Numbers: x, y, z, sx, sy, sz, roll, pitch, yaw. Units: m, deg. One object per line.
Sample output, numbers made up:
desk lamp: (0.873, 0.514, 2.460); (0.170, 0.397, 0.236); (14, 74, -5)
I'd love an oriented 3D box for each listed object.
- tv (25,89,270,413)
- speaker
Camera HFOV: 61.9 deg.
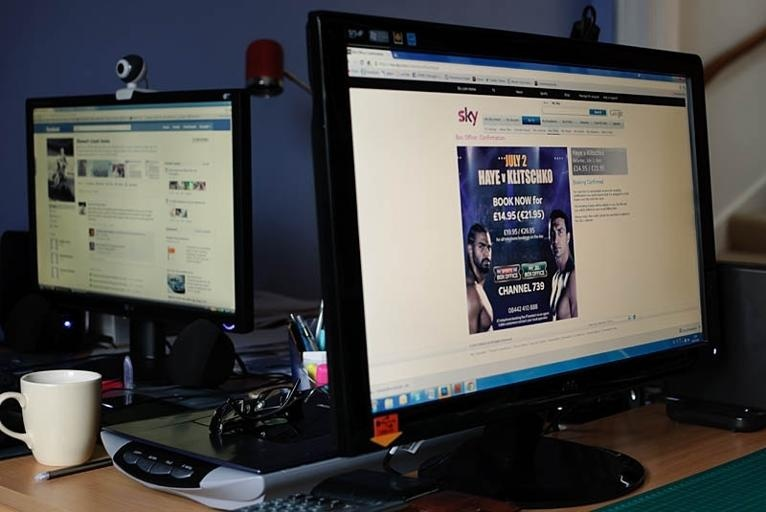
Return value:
tv: (-0.488, -0.015, 1.277); (0.503, 0.496, 0.171); (-20, -1, 1)
speaker: (-0.359, 0.206, 1.263); (0.117, 0.162, 0.087); (10, -11, 6)
